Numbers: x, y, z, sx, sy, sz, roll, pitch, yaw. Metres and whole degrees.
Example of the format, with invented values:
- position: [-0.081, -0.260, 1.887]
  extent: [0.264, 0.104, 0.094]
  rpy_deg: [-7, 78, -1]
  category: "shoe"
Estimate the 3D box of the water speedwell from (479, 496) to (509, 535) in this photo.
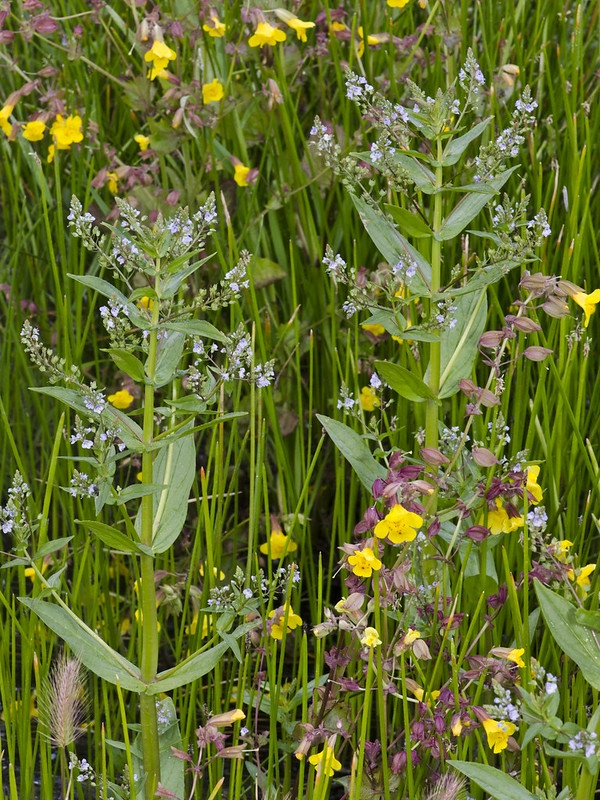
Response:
- position: [0.290, 0.177, 1.479]
  extent: [0.046, 0.052, 0.021]
  rpy_deg: [-6, 24, -4]
  category: "water speedwell"

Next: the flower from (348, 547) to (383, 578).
- position: [0.081, 0.209, 1.283]
  extent: [0.039, 0.039, 0.020]
  rpy_deg: [40, 17, 6]
  category: "flower"

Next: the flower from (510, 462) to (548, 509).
- position: [0.323, 0.127, 1.473]
  extent: [0.032, 0.078, 0.079]
  rpy_deg: [-19, -11, 36]
  category: "flower"

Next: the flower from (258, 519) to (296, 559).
- position: [-0.051, 0.281, 1.944]
  extent: [0.064, 0.094, 0.033]
  rpy_deg: [-8, 6, 1]
  category: "flower"

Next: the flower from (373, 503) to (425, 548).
- position: [0.122, 0.158, 1.265]
  extent: [0.052, 0.057, 0.025]
  rpy_deg: [-8, 46, -9]
  category: "flower"
